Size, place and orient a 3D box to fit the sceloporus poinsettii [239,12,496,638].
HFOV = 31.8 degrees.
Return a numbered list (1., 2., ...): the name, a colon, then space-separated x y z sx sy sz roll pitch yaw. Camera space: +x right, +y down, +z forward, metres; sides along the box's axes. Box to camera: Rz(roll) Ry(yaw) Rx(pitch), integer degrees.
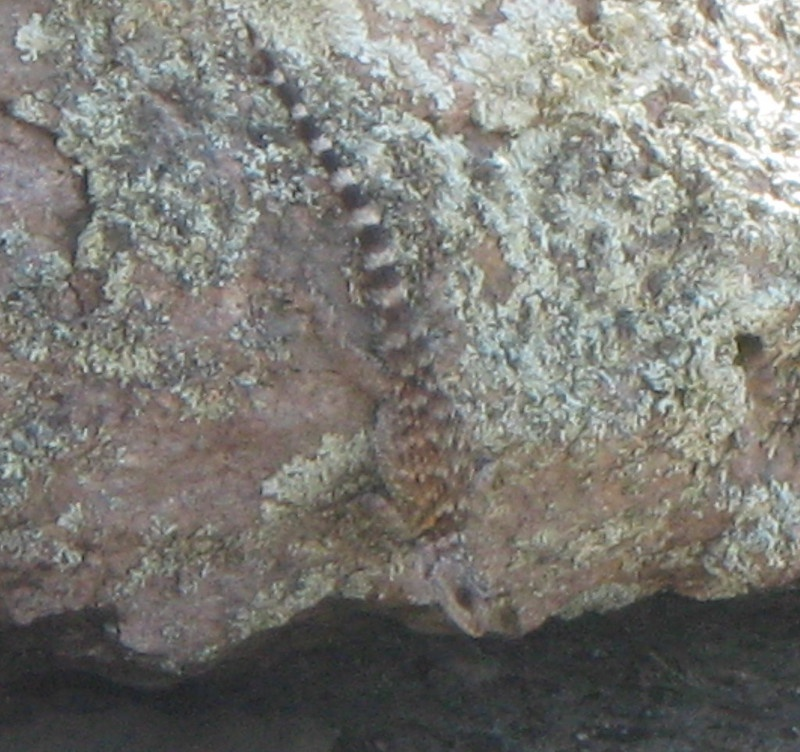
1. sceloporus poinsettii: -0.035 -0.038 2.479 0.220 1.336 0.179 -14 22 -6
